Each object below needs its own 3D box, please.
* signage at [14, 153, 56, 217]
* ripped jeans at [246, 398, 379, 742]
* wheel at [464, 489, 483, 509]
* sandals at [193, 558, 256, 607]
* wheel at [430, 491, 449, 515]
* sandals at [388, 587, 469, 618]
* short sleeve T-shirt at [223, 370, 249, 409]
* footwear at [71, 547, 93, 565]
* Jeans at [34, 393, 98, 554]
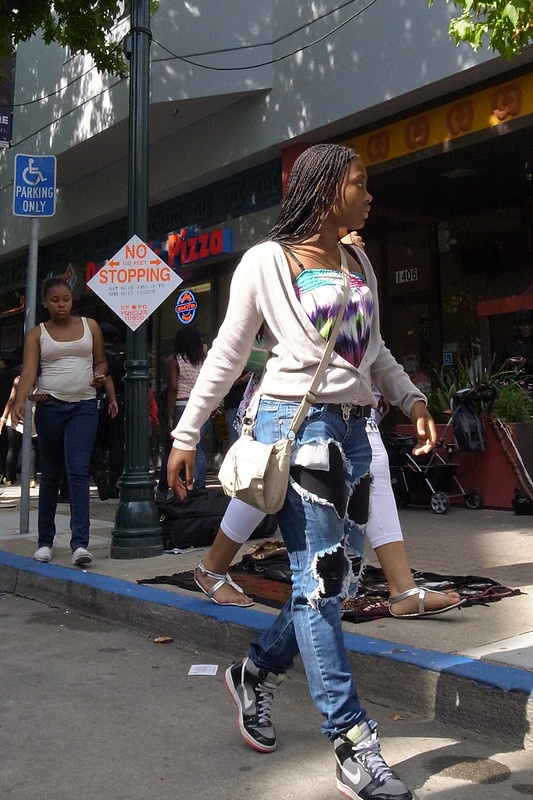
[{"bbox_3d":[-2.352,-2.204,6.861,0.421,0.743,0.269,-6,-5,-14],"label":"signage"},{"bbox_3d":[0.104,0.410,1.813,0.406,0.587,0.446,-8,-5,11],"label":"ripped jeans"},{"bbox_3d":[2.374,1.143,7.738,0.089,0.241,0.244,1,1,-34],"label":"wheel"},{"bbox_3d":[-0.249,0.974,3.516,0.328,0.126,0.185,32,8,0],"label":"sandals"},{"bbox_3d":[1.950,1.173,7.614,0.069,0.261,0.241,3,-8,-40],"label":"wheel"},{"bbox_3d":[0.721,0.956,3.145,0.389,0.147,0.131,-9,13,11],"label":"sandals"},{"bbox_3d":[-0.337,-0.096,7.549,0.104,0.397,0.283,31,14,-11],"label":"short sleeve T-shirt"},{"bbox_3d":[-1.313,1.135,4.845,0.079,0.091,0.218,6,-19,-22],"label":"footwear"},{"bbox_3d":[-1.564,0.504,5.122,0.519,1.303,0.384,-7,-9,17],"label":"Jeans"}]
